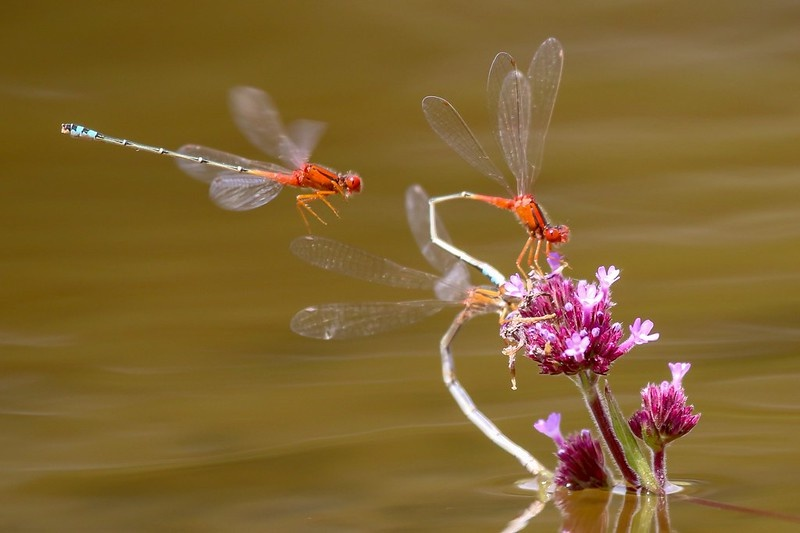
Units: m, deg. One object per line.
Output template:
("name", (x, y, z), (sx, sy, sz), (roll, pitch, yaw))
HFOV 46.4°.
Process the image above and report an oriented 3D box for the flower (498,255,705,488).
("flower", (0.585, 0.318, 2.587), (0.528, 0.652, 0.269), (0, -13, -26))
